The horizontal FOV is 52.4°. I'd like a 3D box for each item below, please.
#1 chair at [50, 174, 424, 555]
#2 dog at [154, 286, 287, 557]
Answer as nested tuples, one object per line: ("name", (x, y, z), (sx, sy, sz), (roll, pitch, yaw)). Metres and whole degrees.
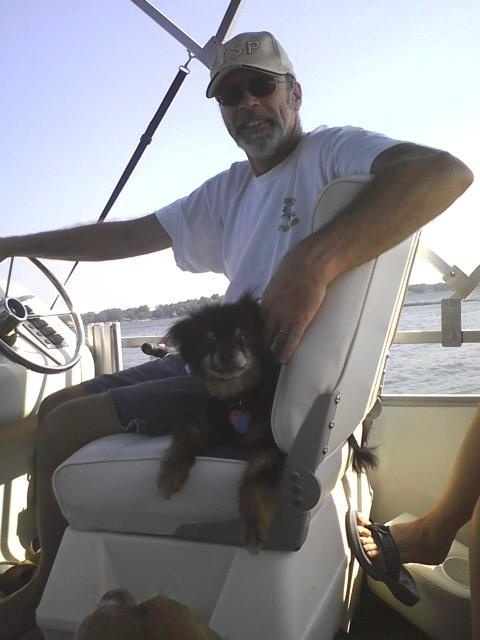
("chair", (-0.003, 0.035, 1.233), (0.737, 0.875, 0.503), (3, 12, 1))
("dog", (-0.030, 0.144, 1.476), (0.279, 0.492, 0.886), (3, 2, 3))
